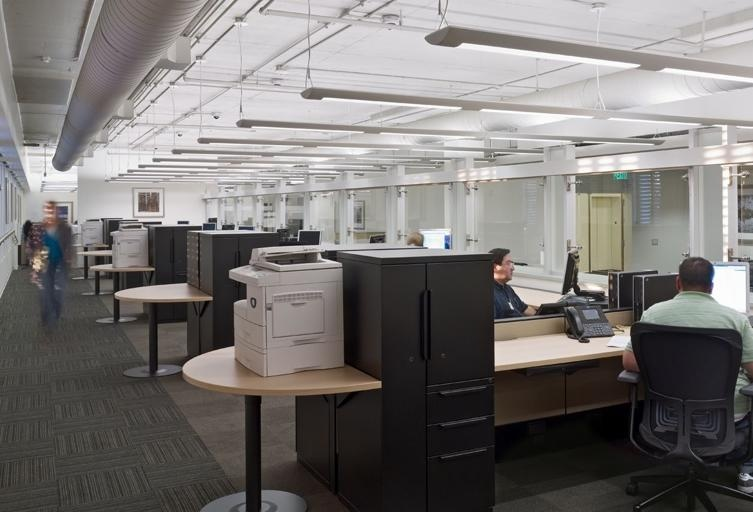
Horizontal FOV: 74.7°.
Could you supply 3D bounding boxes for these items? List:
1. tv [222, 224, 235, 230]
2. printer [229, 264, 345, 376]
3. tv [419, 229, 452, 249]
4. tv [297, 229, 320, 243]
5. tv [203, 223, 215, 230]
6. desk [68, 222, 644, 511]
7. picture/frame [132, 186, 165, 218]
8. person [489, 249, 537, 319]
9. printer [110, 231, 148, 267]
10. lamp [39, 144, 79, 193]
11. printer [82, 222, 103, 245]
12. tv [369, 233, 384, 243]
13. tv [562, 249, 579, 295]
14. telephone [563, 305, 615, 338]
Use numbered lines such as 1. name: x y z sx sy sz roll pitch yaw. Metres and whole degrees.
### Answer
1. tv: -5.092 -0.993 17.014 0.437 0.241 0.410 -1 1 -23
2. printer: -0.614 0.384 3.623 0.756 0.762 0.812 0 1 -25
3. tv: 1.038 -0.297 8.693 0.495 0.393 0.253 1 2 13
4. tv: -1.758 -0.557 13.081 0.478 0.111 0.469 0 20 -9
5. tv: -5.097 -0.897 15.086 0.438 0.257 0.219 2 6 32
6. desk: 0.745 0.661 4.122 2.396 1.295 2.267 -2 4 -26
7. picture/frame: -9.862 -2.323 21.469 1.286 1.327 0.158 -6 7 -43
8. person: 1.686 0.343 6.012 0.471 0.639 0.824 -5 -1 18
9. printer: -4.712 -0.099 9.512 0.683 0.720 0.799 2 -1 -27
10. lamp: -11.596 -3.203 18.088 1.063 1.266 1.885 -2 4 -32
11. printer: -8.318 -0.639 14.313 0.680 0.820 0.684 2 -4 -35
12. tv: 0.023 -0.374 10.855 0.442 0.176 0.143 -8 10 -41
13. tv: 2.582 0.232 6.578 0.188 0.518 0.553 17 22 19
14. telephone: 1.961 0.615 4.550 0.345 0.319 0.143 5 -29 -17
